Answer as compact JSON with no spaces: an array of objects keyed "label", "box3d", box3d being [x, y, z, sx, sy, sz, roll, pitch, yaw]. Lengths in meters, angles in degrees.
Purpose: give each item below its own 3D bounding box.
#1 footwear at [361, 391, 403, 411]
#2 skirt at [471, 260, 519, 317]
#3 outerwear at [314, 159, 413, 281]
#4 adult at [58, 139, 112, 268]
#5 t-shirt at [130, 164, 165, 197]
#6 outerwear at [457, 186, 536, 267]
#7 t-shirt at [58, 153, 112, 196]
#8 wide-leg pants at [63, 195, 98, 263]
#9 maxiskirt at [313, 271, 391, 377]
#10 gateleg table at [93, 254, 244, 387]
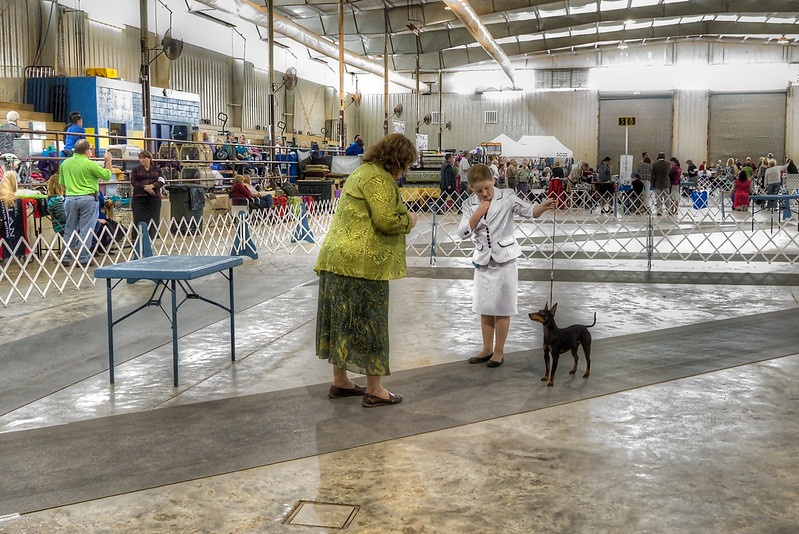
[{"label":"footwear","box3d":[-0.141,1.005,4.690,0.252,0.108,0.125,-4,2,-23]},{"label":"skirt","box3d":[0.820,0.111,5.451,0.388,0.567,0.312,9,35,20]},{"label":"outerwear","box3d":[-0.243,-0.392,4.701,0.725,0.911,0.749,-5,14,-24]},{"label":"adult","box3d":[-4.943,-0.990,9.706,0.747,1.964,0.562,2,5,-4]},{"label":"t-shirt","box3d":[-4.265,-1.442,10.406,0.499,0.608,0.347,-1,-9,-27]},{"label":"outerwear","box3d":[0.835,-0.338,5.313,0.614,0.666,0.434,2,12,10]},{"label":"t-shirt","box3d":[-4.893,-1.425,9.550,0.715,0.637,0.337,-5,13,-20]},{"label":"wide-leg pants","box3d":[-4.955,-0.599,9.527,0.461,1.076,0.338,-8,-22,-6]},{"label":"maxiskirt","box3d":[-0.360,0.307,4.620,0.571,0.817,0.415,14,29,23]},{"label":"gateleg table","box3d":[-1.919,0.412,5.208,0.951,0.870,0.772,0,7,17]}]
